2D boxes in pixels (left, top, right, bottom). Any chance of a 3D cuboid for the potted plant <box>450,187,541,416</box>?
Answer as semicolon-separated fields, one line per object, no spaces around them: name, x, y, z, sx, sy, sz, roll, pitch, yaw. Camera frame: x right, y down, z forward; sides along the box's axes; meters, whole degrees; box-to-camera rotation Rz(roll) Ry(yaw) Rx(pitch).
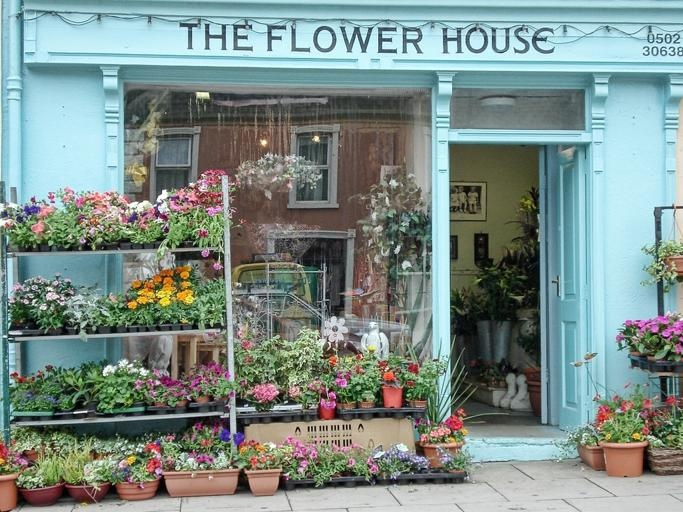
potted plant;2.070;0.707;13.547;0.939;2.673;2.717;1;-6;-5

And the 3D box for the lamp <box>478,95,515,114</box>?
lamp;1.661;-1.647;10.667;0.352;0.175;0.089;-3;8;-5

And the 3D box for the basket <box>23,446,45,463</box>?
basket;-2.951;1.921;9.494;0.154;0.103;0.149;5;-11;-33
